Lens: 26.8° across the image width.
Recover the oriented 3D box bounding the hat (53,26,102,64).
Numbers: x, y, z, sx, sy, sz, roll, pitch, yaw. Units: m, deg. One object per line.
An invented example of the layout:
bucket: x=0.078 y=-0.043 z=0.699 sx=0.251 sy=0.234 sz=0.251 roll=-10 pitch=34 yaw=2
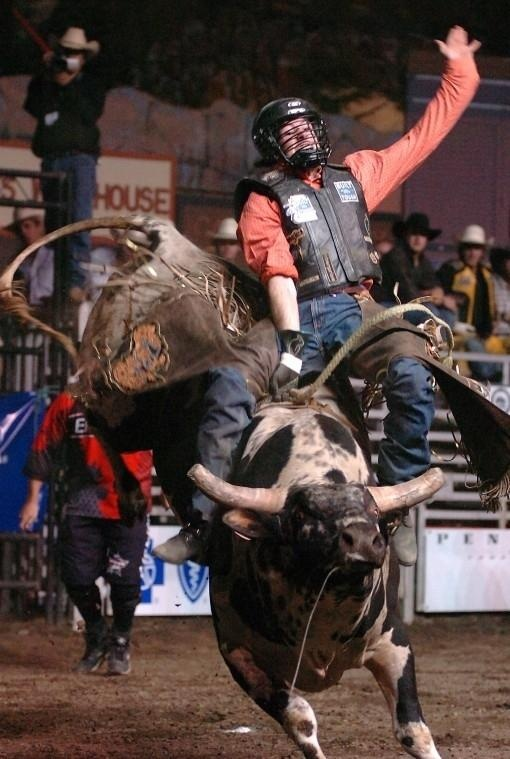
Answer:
hat: x=-1.267 y=-2.408 z=7.682 sx=0.322 sy=0.117 sz=0.335 roll=10 pitch=-12 yaw=-1

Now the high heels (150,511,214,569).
high heels: x=-0.211 y=0.621 z=4.123 sx=0.114 sy=0.153 sz=0.347 roll=38 pitch=11 yaw=24

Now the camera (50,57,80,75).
camera: x=-1.298 y=-2.175 z=7.353 sx=0.178 sy=0.080 sz=0.164 roll=4 pitch=-10 yaw=-9

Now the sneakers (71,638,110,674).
sneakers: x=-0.970 y=1.633 z=6.223 sx=0.107 sy=0.096 sz=0.261 roll=1 pitch=-5 yaw=1

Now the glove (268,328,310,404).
glove: x=0.162 y=-0.062 z=4.250 sx=0.112 sy=0.247 sz=0.099 roll=16 pitch=-16 yaw=37

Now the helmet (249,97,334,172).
helmet: x=0.151 y=-1.086 z=4.590 sx=0.283 sy=0.242 sz=0.354 roll=-23 pitch=27 yaw=-35

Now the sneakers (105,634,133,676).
sneakers: x=-0.802 y=1.622 z=6.303 sx=0.111 sy=0.113 sz=0.273 roll=0 pitch=25 yaw=-4

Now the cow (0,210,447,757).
cow: x=0.145 y=0.447 z=3.896 sx=1.014 sy=1.826 sz=1.662 roll=4 pitch=-2 yaw=-17
